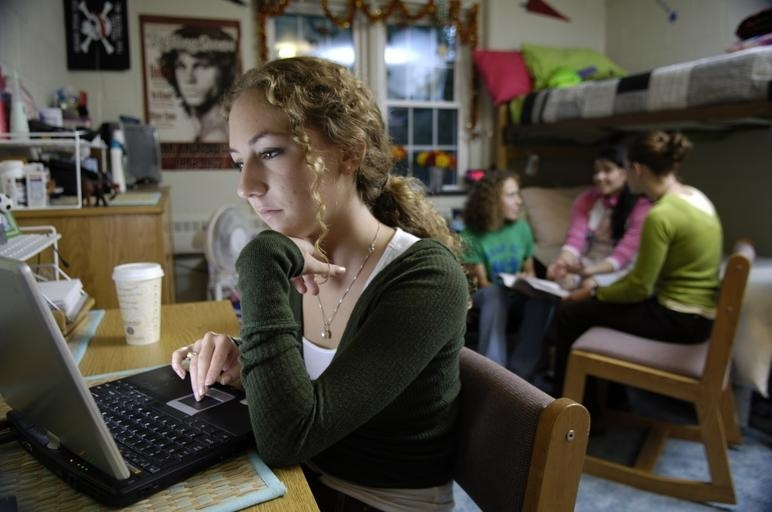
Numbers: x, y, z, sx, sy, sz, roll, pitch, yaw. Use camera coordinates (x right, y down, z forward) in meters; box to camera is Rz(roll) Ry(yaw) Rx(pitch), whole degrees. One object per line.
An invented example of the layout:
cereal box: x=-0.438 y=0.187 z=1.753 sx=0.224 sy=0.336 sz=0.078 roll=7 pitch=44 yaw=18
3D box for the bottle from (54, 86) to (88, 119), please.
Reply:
bottle: x=-2.224 y=-1.068 z=4.162 sx=0.233 sy=0.230 sz=0.274 roll=-8 pitch=14 yaw=-34

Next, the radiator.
radiator: x=-1.148 y=-0.036 z=3.981 sx=0.378 sy=0.618 sz=0.469 roll=2 pitch=12 yaw=2

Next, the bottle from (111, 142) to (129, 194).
bottle: x=-1.737 y=-0.574 z=3.789 sx=0.069 sy=0.284 sz=0.066 roll=3 pitch=11 yaw=-1

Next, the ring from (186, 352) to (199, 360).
ring: x=-0.589 y=0.300 z=1.790 sx=0.030 sy=0.023 sz=0.030 roll=2 pitch=1 yaw=0

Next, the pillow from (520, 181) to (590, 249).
pillow: x=1.069 y=-0.274 z=3.691 sx=0.348 sy=0.356 sz=0.130 roll=-15 pitch=-23 yaw=21

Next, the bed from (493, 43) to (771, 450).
bed: x=1.373 y=-0.333 z=3.612 sx=1.218 sy=1.606 sz=1.996 roll=-7 pitch=7 yaw=-39

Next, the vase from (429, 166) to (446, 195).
vase: x=0.416 y=-0.609 z=4.802 sx=0.174 sy=0.245 sz=0.178 roll=0 pitch=-4 yaw=-9

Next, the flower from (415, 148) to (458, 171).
flower: x=0.408 y=-0.774 z=4.835 sx=0.208 sy=0.099 sz=0.211 roll=7 pitch=10 yaw=43

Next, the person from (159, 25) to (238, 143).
person: x=-1.459 y=-1.315 z=4.668 sx=0.585 sy=0.953 sz=0.575 roll=1 pitch=10 yaw=-8

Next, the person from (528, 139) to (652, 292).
person: x=1.145 y=-0.204 z=3.135 sx=0.694 sy=0.730 sz=0.439 roll=-20 pitch=24 yaw=-36

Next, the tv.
tv: x=-1.810 y=-0.703 z=4.174 sx=0.394 sy=0.438 sz=0.372 roll=-6 pitch=6 yaw=-18

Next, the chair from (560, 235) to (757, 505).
chair: x=1.312 y=0.491 z=3.281 sx=1.134 sy=1.532 sz=0.899 roll=4 pitch=7 yaw=29

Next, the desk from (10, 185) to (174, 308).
desk: x=-1.544 y=-0.101 z=3.252 sx=0.562 sy=0.757 sz=0.771 roll=-2 pitch=9 yaw=-7

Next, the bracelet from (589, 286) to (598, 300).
bracelet: x=1.057 y=0.184 z=2.984 sx=0.046 sy=0.047 sz=0.041 roll=0 pitch=-3 yaw=-5
